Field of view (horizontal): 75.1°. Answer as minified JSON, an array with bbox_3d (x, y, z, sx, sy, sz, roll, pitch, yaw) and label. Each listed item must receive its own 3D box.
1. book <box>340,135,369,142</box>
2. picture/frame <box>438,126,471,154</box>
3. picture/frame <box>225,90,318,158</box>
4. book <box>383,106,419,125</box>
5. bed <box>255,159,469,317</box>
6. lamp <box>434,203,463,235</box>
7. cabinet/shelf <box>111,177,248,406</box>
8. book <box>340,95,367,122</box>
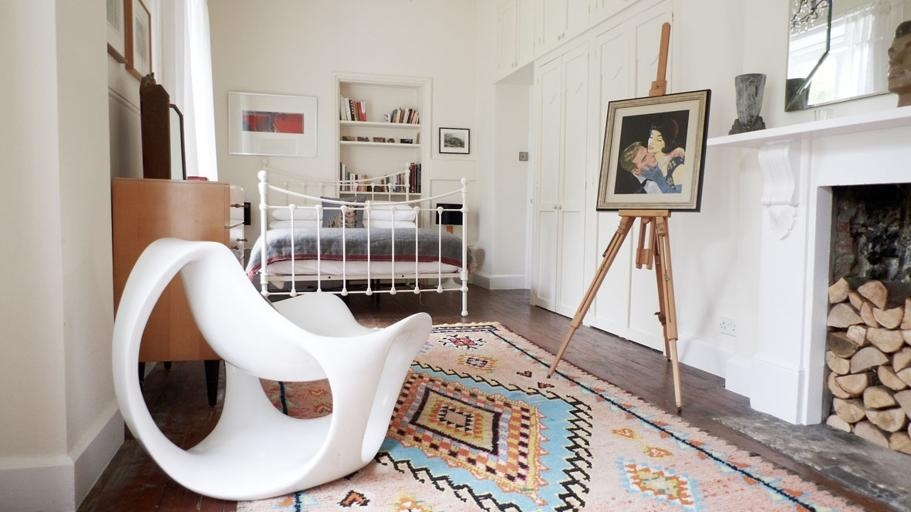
[{"bbox_3d":[-1.299,-1.499,7.567,0.361,0.077,0.138,0,10,-10],"label":"book"},{"bbox_3d":[-0.046,-1.495,7.639,0.405,0.299,0.029,1,1,-15],"label":"picture/frame"},{"bbox_3d":[-2.317,-1.626,7.220,0.946,0.642,0.033,1,1,-12],"label":"picture/frame"},{"bbox_3d":[-0.733,-1.817,7.665,0.301,0.109,0.370,0,1,-10],"label":"book"},{"bbox_3d":[-0.906,-0.227,6.554,2.509,1.422,2.675,-1,10,-11],"label":"bed"},{"bbox_3d":[-0.107,-0.464,7.201,0.407,0.413,0.379,-3,8,-13],"label":"lamp"},{"bbox_3d":[-1.747,0.194,3.700,0.669,1.353,0.683,-3,12,-21],"label":"cabinet/shelf"},{"bbox_3d":[-1.325,-1.862,7.501,0.424,0.371,0.230,0,0,-14],"label":"book"}]
